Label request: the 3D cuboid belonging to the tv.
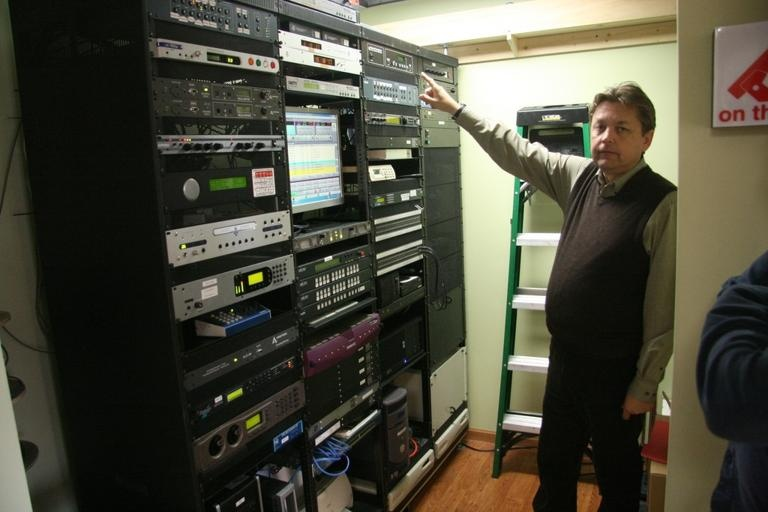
[{"bbox_3d":[-0.344,-0.472,2.891,0.050,0.494,0.575,-12,14,-35],"label":"tv"}]
